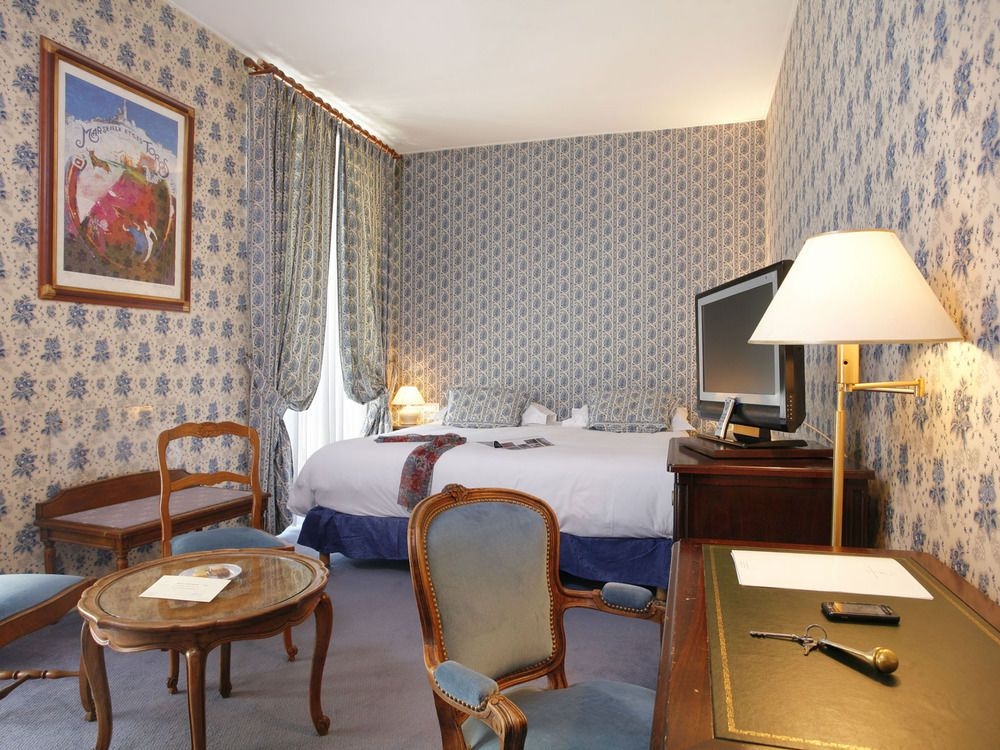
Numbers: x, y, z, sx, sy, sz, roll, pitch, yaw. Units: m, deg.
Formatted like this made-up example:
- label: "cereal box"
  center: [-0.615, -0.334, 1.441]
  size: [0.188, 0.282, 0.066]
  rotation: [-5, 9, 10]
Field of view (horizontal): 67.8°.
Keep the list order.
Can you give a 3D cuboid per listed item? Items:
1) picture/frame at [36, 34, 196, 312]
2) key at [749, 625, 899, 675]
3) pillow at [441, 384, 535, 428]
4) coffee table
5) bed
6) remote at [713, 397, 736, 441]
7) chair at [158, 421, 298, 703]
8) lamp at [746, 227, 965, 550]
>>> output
- label: "picture/frame"
  center: [-2.115, -1.047, 4.146]
  size: [0.067, 1.399, 1.007]
  rotation: [4, 9, 25]
- label: "key"
  center: [0.767, 0.641, 1.761]
  size: [0.302, 0.085, 0.065]
  rotation: [5, -24, 32]
- label: "pillow"
  center: [-0.129, 0.246, 5.912]
  size: [0.613, 0.319, 0.410]
  rotation: [6, 1, 15]
- label: "coffee table"
  center: [-1.793, 0.874, 3.910]
  size: [0.642, 0.510, 0.878]
  rotation: [4, 3, 23]
- label: "bed"
  center: [0.095, 0.685, 5.062]
  size: [2.586, 0.749, 1.777]
  rotation: [0, 0, 12]
- label: "remote"
  center: [1.024, 0.199, 3.361]
  size: [0.037, 0.161, 0.164]
  rotation: [14, 12, 16]
- label: "chair"
  center: [-1.406, 0.711, 3.783]
  size: [0.746, 1.474, 0.739]
  rotation: [0, -1, 44]
- label: "lamp"
  center: [1.093, -0.046, 2.328]
  size: [0.453, 1.170, 0.495]
  rotation: [0, 0, 13]
